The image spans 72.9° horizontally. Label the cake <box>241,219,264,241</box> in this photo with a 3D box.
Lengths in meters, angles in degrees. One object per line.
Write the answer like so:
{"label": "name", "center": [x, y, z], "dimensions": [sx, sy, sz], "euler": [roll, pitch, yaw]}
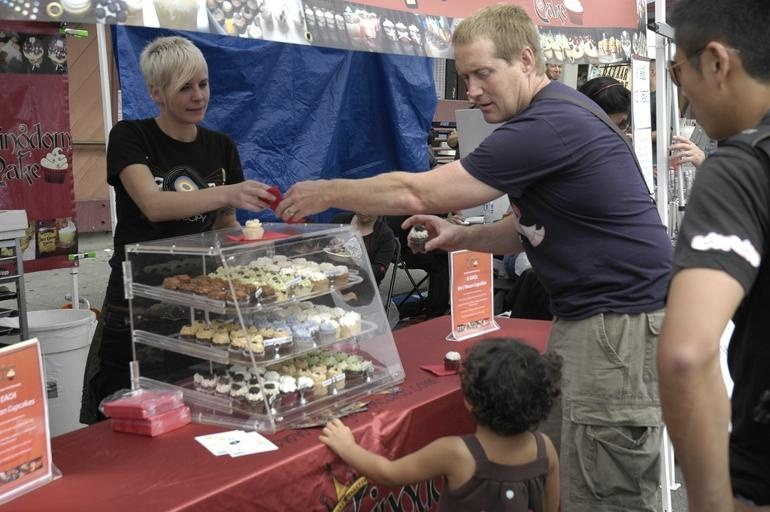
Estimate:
{"label": "cake", "center": [-0.600, -0.122, 2.395], "dimensions": [0.102, 0.089, 0.096], "euler": [2, 15, 8]}

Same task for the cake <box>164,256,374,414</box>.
{"label": "cake", "center": [-0.490, 0.261, 2.404], "dimensions": [0.696, 0.508, 0.749], "euler": [4, 7, 33]}

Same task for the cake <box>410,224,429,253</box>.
{"label": "cake", "center": [0.151, -0.109, 2.893], "dimensions": [0.145, 0.147, 0.137], "euler": [0, -3, 0]}

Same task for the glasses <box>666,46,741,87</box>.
{"label": "glasses", "center": [0.799, -0.474, 1.305], "dimensions": [0.162, 0.048, 0.151], "euler": [-9, 14, 29]}

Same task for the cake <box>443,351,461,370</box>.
{"label": "cake", "center": [0.333, 0.523, 2.625], "dimensions": [0.088, 0.076, 0.084], "euler": [0, 1, 3]}
